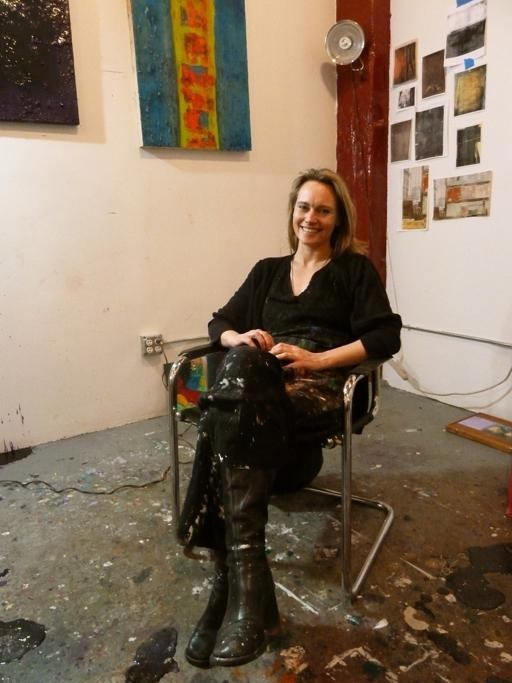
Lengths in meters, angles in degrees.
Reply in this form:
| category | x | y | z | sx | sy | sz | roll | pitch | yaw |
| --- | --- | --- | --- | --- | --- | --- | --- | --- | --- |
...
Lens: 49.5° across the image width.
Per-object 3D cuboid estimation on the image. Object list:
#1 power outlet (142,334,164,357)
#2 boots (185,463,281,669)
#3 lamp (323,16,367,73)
| category | x | y | z | sx | sy | sz | roll | pitch | yaw |
| --- | --- | --- | --- | --- | --- | --- | --- | --- | --- |
| power outlet | -0.471 | 0.019 | 2.500 | 0.028 | 0.090 | 0.094 | 10 | 14 | 43 |
| boots | -0.055 | 0.446 | 1.052 | 0.185 | 0.364 | 0.251 | -3 | 12 | 1 |
| lamp | 0.413 | -1.343 | 2.542 | 0.222 | 0.215 | 0.053 | 6 | 21 | 35 |
